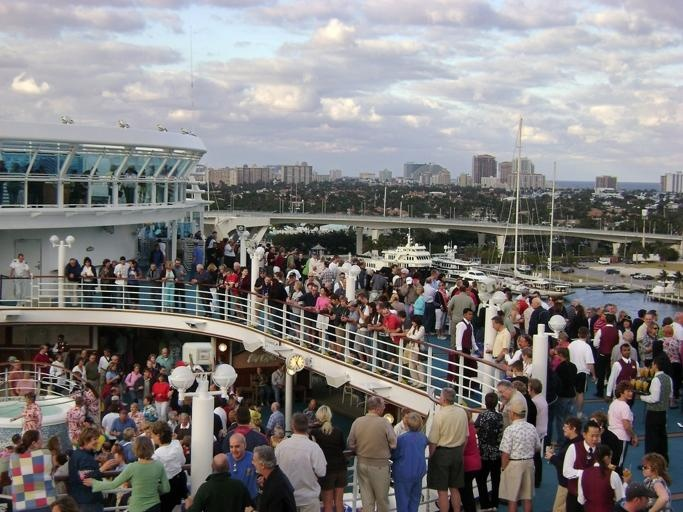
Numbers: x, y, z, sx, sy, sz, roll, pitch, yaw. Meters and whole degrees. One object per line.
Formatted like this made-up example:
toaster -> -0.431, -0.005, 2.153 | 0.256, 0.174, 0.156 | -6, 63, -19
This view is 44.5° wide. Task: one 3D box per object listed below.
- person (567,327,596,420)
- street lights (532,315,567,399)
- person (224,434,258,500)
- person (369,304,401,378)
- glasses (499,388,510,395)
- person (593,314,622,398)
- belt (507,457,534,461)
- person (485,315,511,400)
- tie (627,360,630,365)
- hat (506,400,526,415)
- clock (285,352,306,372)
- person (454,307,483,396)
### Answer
person -> 4.723, 2.327, 16.232 | 0.491, 1.766, 0.709 | 3, -1, -12
street lights -> 3.731, 1.783, 15.149 | 0.536, 1.572, 0.660 | 0, 6, -11
person -> -1.490, 3.204, 12.641 | 0.484, 1.032, 0.511 | 2, 0, -14
person -> 0.957, 1.735, 17.662 | 0.482, 1.833, 0.507 | 1, 0, -18
glasses -> 2.674, 2.235, 13.609 | 0.208, 0.130, 0.068 | 1, 1, -13
person -> 5.876, 2.226, 18.212 | 0.577, 1.982, 0.722 | 4, 6, 10
belt -> 2.843, 3.235, 13.187 | 0.376, 0.074, 0.097 | 1, 1, -12
person -> 3.047, 1.969, 16.139 | 0.452, 1.571, 0.664 | 4, 7, 27
tie -> 5.399, 2.036, 15.721 | 0.051, 0.074, 0.077 | 3, -28, 13
hat -> 2.769, 2.402, 13.211 | 0.215, 0.160, 0.304 | 0, 11, -6
clock -> -1.077, 2.470, 19.076 | 0.372, 0.453, 0.414 | 1, 1, 4
person -> 2.689, 1.976, 17.717 | 0.541, 1.925, 0.685 | 0, 6, -21
